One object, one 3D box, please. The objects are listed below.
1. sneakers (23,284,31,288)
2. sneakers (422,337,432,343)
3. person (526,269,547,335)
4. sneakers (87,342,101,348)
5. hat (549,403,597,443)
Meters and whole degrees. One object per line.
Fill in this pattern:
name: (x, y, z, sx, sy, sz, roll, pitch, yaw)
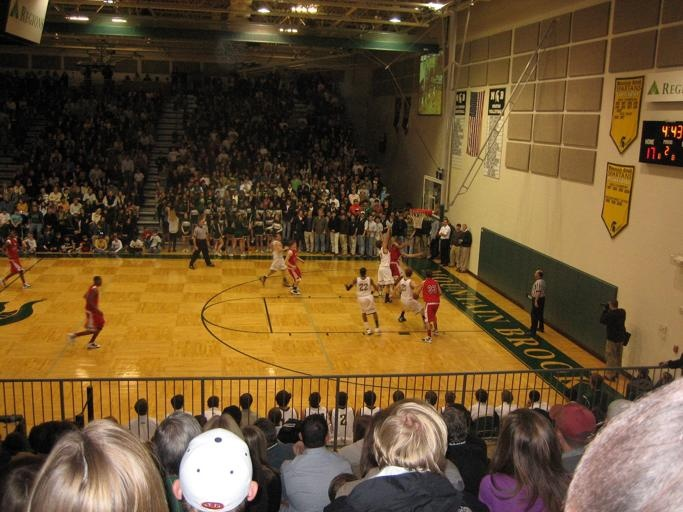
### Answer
sneakers: (-9.611, 0.889, 16.445, 0.201, 0.110, 0.281, -6, 16, -33)
sneakers: (2.194, 2.143, 13.763, 0.245, 0.142, 0.103, 4, 6, 29)
person: (5.356, 1.183, 14.636, 0.462, 1.919, 1.377, 7, 14, 21)
sneakers: (-5.789, 2.078, 12.581, 0.289, 0.170, 0.126, 0, 32, -22)
hat: (2.514, 1.764, 5.865, 0.493, 0.335, 0.408, 7, -16, -17)
